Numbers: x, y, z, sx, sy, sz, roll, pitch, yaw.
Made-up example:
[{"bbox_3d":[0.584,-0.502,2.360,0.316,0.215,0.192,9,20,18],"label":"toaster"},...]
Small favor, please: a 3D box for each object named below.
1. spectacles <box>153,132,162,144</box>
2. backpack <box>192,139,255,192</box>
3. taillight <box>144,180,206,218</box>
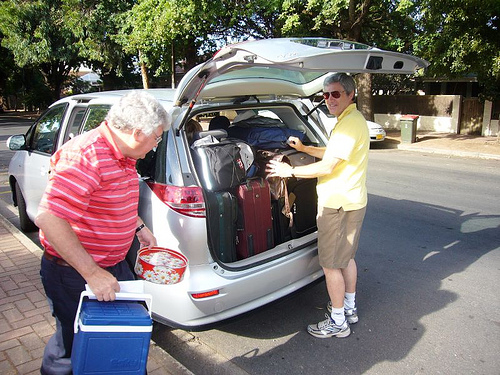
[{"bbox_3d":[-0.778,-0.392,2.848,0.025,0.104,0.105,7,-8,-40],"label":"spectacles"},{"bbox_3d":[-0.209,-0.212,3.113,0.567,0.420,0.318,-4,12,-14],"label":"backpack"},{"bbox_3d":[-0.571,0.068,2.738,0.328,0.258,0.382,-13,19,-41],"label":"taillight"}]
